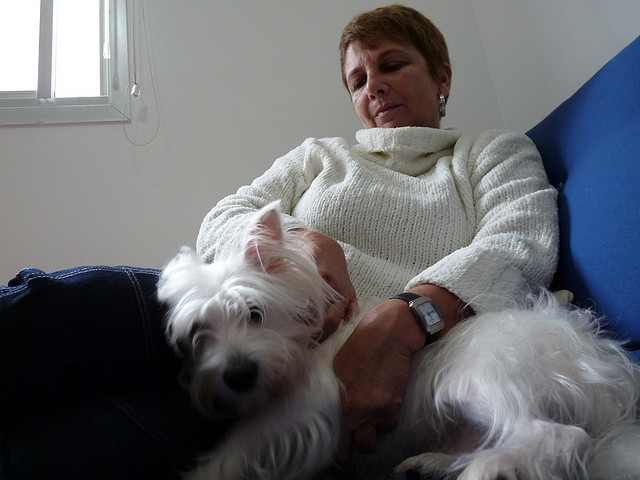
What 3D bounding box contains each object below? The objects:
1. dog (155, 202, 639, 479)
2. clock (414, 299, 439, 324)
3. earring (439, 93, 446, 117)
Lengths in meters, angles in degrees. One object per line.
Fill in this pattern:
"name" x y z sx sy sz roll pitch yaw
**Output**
"dog" 0.131 0.324 1.162 0.976 0.464 0.585 4 51 -1
"clock" 0.220 0.145 1.035 0.032 0.052 0.052 -18 4 -3
"earring" 0.414 -0.460 1.724 0.017 0.075 0.037 1 10 11
